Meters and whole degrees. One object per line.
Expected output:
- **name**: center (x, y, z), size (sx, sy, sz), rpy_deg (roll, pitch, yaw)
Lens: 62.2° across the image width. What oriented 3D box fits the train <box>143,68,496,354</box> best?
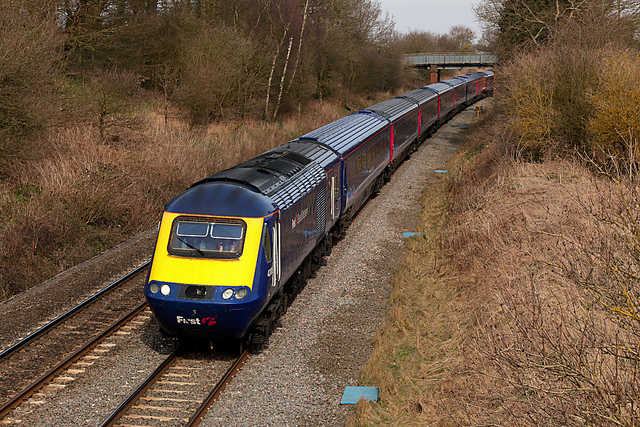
- **train**: center (6.829, -5.417, 35.282), size (2.996, 5.134, 50.682), rpy_deg (8, 20, 23)
